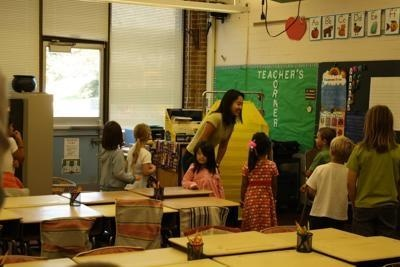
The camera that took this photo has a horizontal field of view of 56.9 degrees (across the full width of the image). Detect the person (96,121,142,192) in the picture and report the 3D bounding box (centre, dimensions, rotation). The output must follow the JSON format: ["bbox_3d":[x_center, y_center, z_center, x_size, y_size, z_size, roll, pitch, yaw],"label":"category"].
[{"bbox_3d":[-1.088,0.311,4.920,0.415,0.936,0.527,-5,8,-37],"label":"person"}]

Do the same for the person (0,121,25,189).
[{"bbox_3d":[-2.435,0.297,4.857,0.223,0.766,1.692,-4,7,-25],"label":"person"}]

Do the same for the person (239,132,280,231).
[{"bbox_3d":[0.714,0.580,4.514,0.477,1.120,0.500,-2,6,-9],"label":"person"}]

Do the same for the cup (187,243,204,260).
[{"bbox_3d":[-0.029,0.795,2.506,0.099,0.113,0.104,0,1,0],"label":"cup"}]

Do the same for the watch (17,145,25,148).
[{"bbox_3d":[-2.451,0.181,5.075,0.067,0.065,0.068,-1,-4,28],"label":"watch"}]

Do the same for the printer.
[{"bbox_3d":[-0.293,-0.177,6.820,0.839,0.800,0.572,0,-1,-23],"label":"printer"}]

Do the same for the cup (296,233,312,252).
[{"bbox_3d":[0.757,0.789,2.743,0.124,0.118,0.122,1,6,0],"label":"cup"}]
